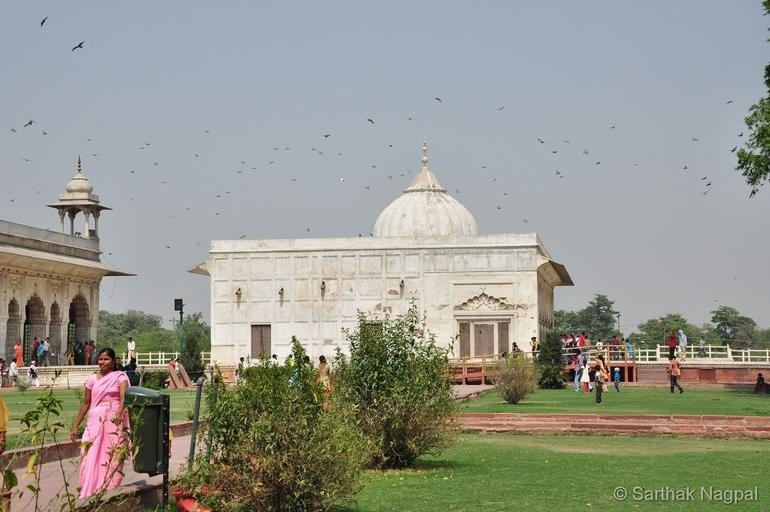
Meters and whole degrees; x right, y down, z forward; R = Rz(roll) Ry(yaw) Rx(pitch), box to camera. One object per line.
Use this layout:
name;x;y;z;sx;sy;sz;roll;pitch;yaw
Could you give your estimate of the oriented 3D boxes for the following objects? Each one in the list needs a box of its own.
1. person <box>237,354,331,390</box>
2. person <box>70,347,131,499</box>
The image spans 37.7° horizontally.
person;-1.731;2.246;19.419;1.538;0.478;1.127;-2;0;3
person;-4.748;2.828;18.935;1.018;2.515;0.922;-1;-9;-2
